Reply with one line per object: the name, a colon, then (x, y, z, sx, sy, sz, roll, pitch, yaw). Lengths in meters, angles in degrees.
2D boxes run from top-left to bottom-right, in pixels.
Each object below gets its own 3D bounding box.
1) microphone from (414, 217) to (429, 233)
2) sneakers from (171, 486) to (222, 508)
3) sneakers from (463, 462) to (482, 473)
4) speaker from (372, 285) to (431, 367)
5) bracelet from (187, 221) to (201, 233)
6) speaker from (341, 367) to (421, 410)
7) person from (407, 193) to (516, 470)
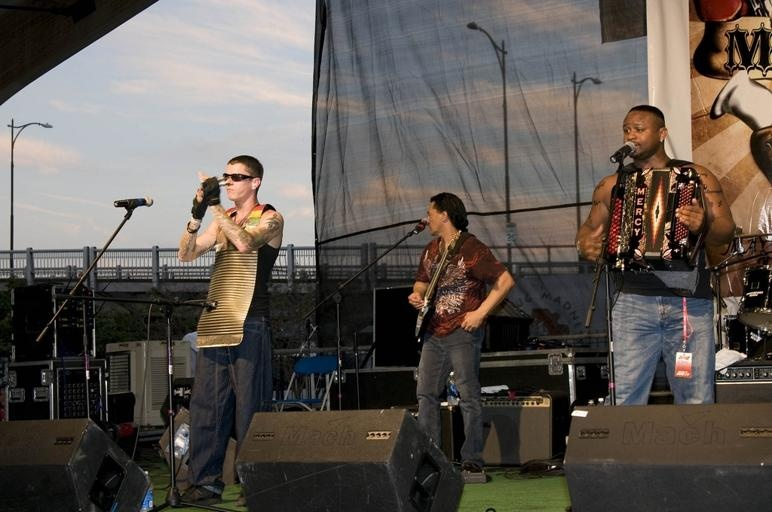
microphone: (0.382, -0.325, 15.406, 0.084, 0.147, 0.207, 26, -38, -31)
sneakers: (-1.930, 2.431, 13.894, 0.473, 0.171, 0.162, 6, -10, -14)
sneakers: (0.904, 2.278, 14.895, 0.230, 0.080, 0.092, 13, 10, 7)
speaker: (0.084, 0.894, 17.433, 1.013, 0.860, 0.255, 3, -1, 37)
bracelet: (-1.976, -0.303, 14.009, 0.112, 0.127, 0.122, 2, 1, 3)
speaker: (-0.120, 1.610, 16.792, 1.081, 0.500, 0.247, -2, -6, 29)
person: (0.758, 0.815, 14.927, 1.071, 3.050, 0.522, -2, -8, 10)
